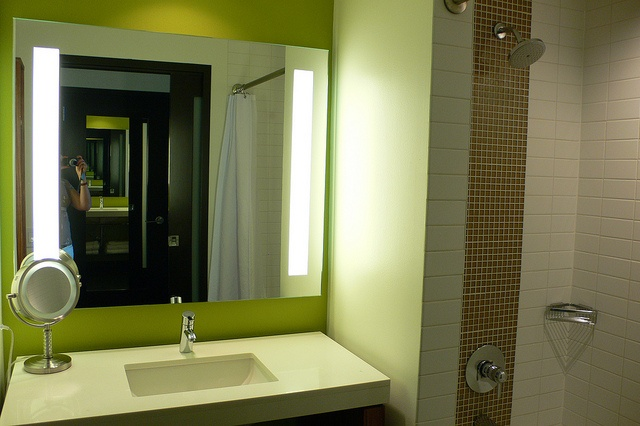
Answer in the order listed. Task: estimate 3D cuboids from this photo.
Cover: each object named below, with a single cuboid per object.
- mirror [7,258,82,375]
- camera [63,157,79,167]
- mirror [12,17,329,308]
[{"bbox_3d":[-1.258,0.454,2.362,0.290,0.488,0.261,-6,17,-33],"label":"mirror"},{"bbox_3d":[-1.195,-0.245,2.460,0.062,0.032,0.038,-1,3,-33],"label":"camera"},{"bbox_3d":[-0.811,-0.265,2.574,1.484,1.441,0.160,0,1,-18],"label":"mirror"}]
